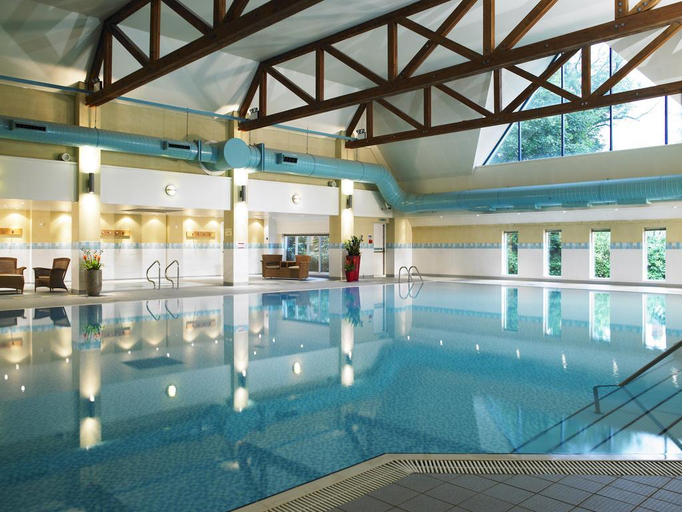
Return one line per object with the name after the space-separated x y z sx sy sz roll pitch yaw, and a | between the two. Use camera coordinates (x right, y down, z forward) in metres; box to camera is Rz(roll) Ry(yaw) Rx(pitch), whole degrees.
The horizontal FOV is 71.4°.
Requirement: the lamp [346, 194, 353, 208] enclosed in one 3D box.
0.348 -2.227 19.955 0.209 0.559 0.114 0 0 -20 | lamp

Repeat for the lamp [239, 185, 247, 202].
-3.551 -2.223 17.199 0.150 0.581 0.331 0 0 36 | lamp

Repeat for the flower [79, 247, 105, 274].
-7.419 0.137 14.038 0.755 0.738 0.749 -1 0 -30 | flower

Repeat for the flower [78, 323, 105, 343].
-4.480 1.394 8.500 0.349 0.138 0.449 1 1 -16 | flower

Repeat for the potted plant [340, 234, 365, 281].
0.423 0.123 19.687 0.717 1.846 0.496 0 0 13 | potted plant

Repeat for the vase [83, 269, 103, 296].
-7.276 0.785 13.864 0.387 0.786 0.393 0 0 -21 | vase

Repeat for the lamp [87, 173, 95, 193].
-7.457 -2.129 14.057 0.165 0.556 0.238 0 0 -38 | lamp

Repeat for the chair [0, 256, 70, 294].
-10.082 0.633 15.424 1.904 1.042 2.722 0 0 -28 | chair
